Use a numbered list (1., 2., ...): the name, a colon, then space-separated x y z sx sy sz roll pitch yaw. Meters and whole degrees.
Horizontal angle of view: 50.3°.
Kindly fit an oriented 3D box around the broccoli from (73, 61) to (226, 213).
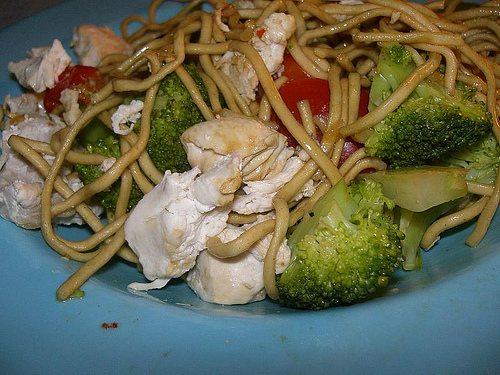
1. broccoli: -0.271 -0.124 1.662 0.437 0.375 0.135 -47 -12 1

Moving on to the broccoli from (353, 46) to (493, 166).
1. broccoli: 0.470 -0.176 1.415 0.322 0.329 0.149 -6 4 9

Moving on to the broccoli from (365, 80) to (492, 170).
1. broccoli: 0.465 -0.147 1.438 0.317 0.213 0.114 -34 -3 23

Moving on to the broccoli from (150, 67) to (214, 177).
1. broccoli: -0.199 -0.180 1.533 0.091 0.286 0.206 10 6 1

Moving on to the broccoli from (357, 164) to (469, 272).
1. broccoli: 0.448 0.103 1.491 0.272 0.270 0.323 3 -22 -20

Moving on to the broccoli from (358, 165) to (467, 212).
1. broccoli: 0.452 -0.006 1.422 0.162 0.077 0.168 -4 1 -39

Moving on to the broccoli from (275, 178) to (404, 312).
1. broccoli: 0.223 0.160 1.406 0.372 0.272 0.237 -20 27 0

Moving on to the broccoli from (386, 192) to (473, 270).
1. broccoli: 0.461 0.125 1.456 0.218 0.074 0.222 -21 48 28
